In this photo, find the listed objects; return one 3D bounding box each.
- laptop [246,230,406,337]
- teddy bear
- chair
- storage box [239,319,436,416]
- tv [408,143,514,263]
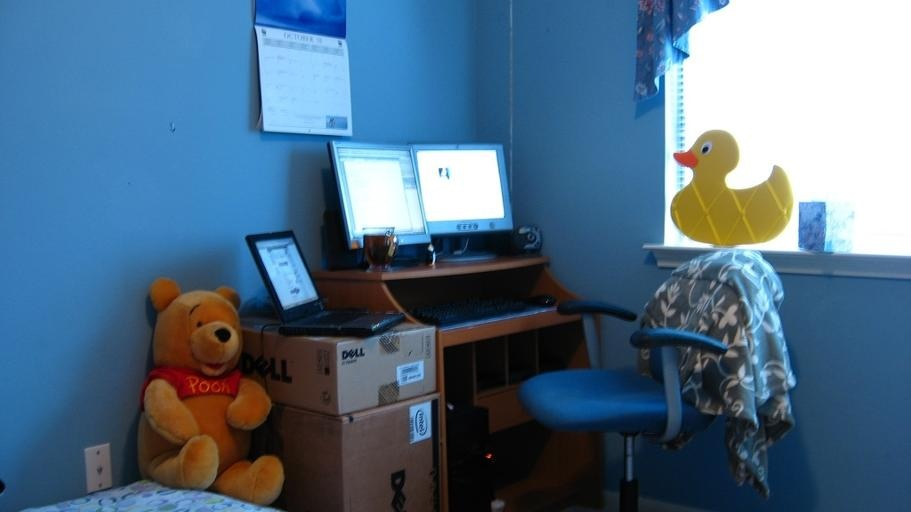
[{"bbox_3d":[-0.595,0.092,3.147,0.615,0.404,0.517,1,5,16],"label":"laptop"},{"bbox_3d":[-1.150,0.611,2.988,0.617,1.019,0.443,-7,10,-8],"label":"teddy bear"},{"bbox_3d":[0.698,0.499,3.290,0.935,1.132,1.119,1,0,-20],"label":"chair"},{"bbox_3d":[-0.493,0.506,3.056,0.458,0.250,0.622,-5,5,-41],"label":"storage box"},{"bbox_3d":[0.011,-0.304,3.734,0.701,0.727,0.458,-3,1,-29],"label":"tv"}]
